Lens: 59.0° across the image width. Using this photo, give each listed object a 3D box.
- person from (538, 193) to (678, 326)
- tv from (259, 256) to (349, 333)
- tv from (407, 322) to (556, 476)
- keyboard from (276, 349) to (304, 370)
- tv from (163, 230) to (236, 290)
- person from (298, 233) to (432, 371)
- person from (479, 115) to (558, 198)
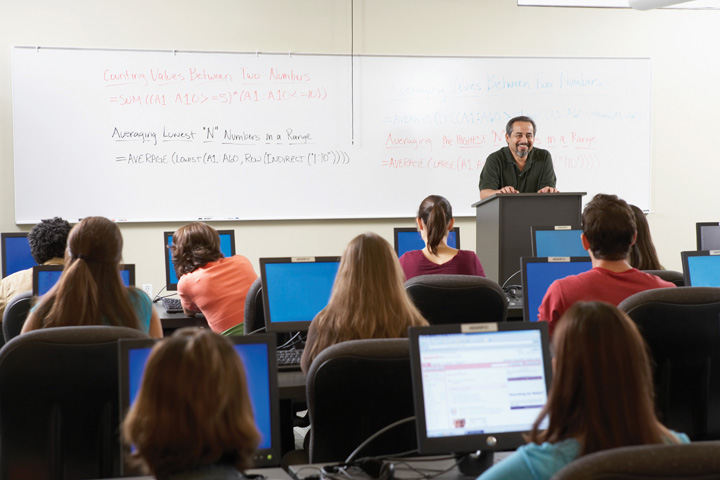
[{"bbox_3d":[1.175,0.078,3.123,0.760,0.795,0.423,-1,7,4],"label":"person"},{"bbox_3d":[-0.280,0.267,3.104,0.386,0.291,0.037,2,-5,-13],"label":"tv"},{"bbox_3d":[0.414,0.514,2.109,0.522,0.548,0.273,-1,0,-6],"label":"tv"},{"bbox_3d":[-0.333,0.566,3.041,0.123,0.041,0.187,1,9,0],"label":"keyboard"},{"bbox_3d":[-0.935,0.123,3.733,0.387,0.396,0.039,-2,1,-38],"label":"tv"},{"bbox_3d":[0.015,0.377,2.737,0.585,0.780,0.456,0,-1,-15],"label":"person"},{"bbox_3d":[1.263,-0.527,5.014,0.622,0.828,0.571,0,2,-14],"label":"person"}]
